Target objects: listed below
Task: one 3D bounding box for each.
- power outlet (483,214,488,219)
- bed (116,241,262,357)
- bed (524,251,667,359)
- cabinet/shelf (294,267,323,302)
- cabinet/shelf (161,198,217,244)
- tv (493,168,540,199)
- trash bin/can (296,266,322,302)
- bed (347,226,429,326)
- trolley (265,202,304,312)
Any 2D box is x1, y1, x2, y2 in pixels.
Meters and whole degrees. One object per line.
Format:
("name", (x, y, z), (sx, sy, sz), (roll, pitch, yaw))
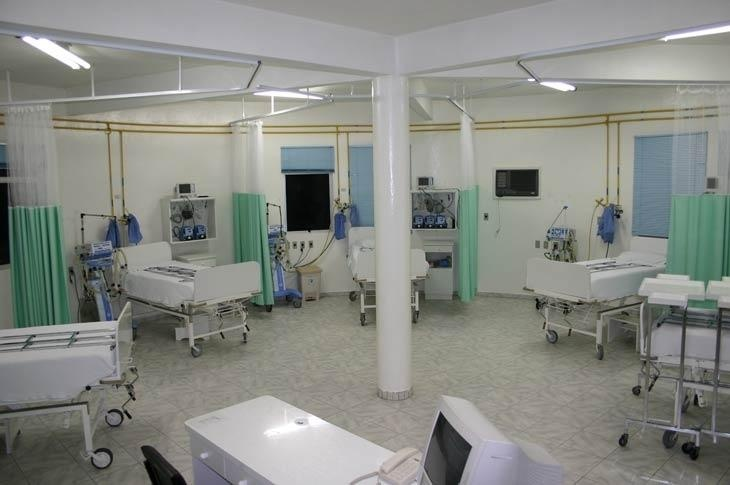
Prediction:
("power outlet", (2.705, -0.579, 10.834), (0.110, 0.109, 0.203), (-1, 9, 4))
("bed", (-3.104, 0.865, 8.750), (2.707, 1.582, 1.576), (8, 11, 40))
("bed", (3.978, 0.956, 8.512), (2.519, 1.520, 1.370), (-4, 5, -40))
("cabinet/shelf", (-1.248, 0.895, 10.941), (0.715, 0.986, 0.674), (-2, 7, -17))
("cabinet/shelf", (-3.667, -0.460, 9.958), (0.341, 0.804, 0.896), (6, 9, 43))
("tv", (3.323, -1.304, 10.619), (1.130, 0.762, 0.580), (1, 5, 19))
("trash bin/can", (-1.223, 0.910, 10.971), (0.701, 0.978, 0.669), (-2, 6, -16))
("bed", (0.390, 0.634, 9.939), (1.356, 1.364, 2.216), (0, 2, -2))
("trolley", (-1.764, 0.249, 10.570), (0.637, 2.140, 1.091), (-3, 12, -10))
